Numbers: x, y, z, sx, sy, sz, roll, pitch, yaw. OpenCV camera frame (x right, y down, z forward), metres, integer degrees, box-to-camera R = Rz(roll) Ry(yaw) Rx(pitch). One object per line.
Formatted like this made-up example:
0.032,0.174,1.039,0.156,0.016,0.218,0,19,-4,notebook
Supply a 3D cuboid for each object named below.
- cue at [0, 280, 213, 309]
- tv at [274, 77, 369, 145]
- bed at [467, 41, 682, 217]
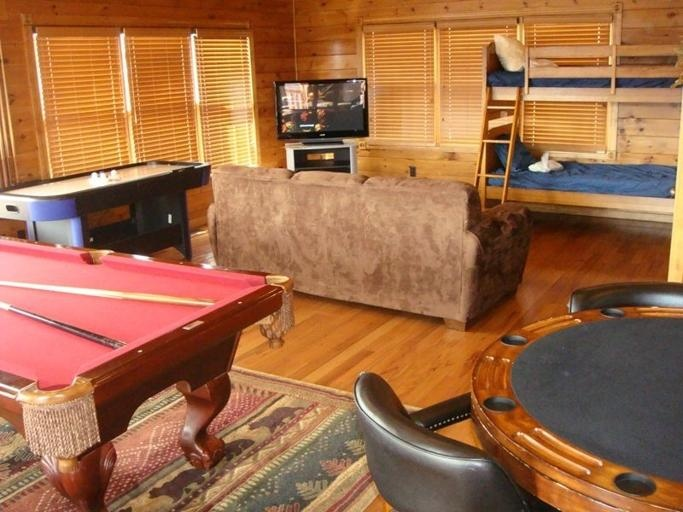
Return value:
-0.993,0.174,2.363,1.088,0.055,0.034,5,-2,11,cue
-0.258,-1.978,7.392,1.542,0.658,0.132,-1,17,-2,tv
2.726,-1.436,6.164,2.921,1.976,1.402,9,36,26,bed
